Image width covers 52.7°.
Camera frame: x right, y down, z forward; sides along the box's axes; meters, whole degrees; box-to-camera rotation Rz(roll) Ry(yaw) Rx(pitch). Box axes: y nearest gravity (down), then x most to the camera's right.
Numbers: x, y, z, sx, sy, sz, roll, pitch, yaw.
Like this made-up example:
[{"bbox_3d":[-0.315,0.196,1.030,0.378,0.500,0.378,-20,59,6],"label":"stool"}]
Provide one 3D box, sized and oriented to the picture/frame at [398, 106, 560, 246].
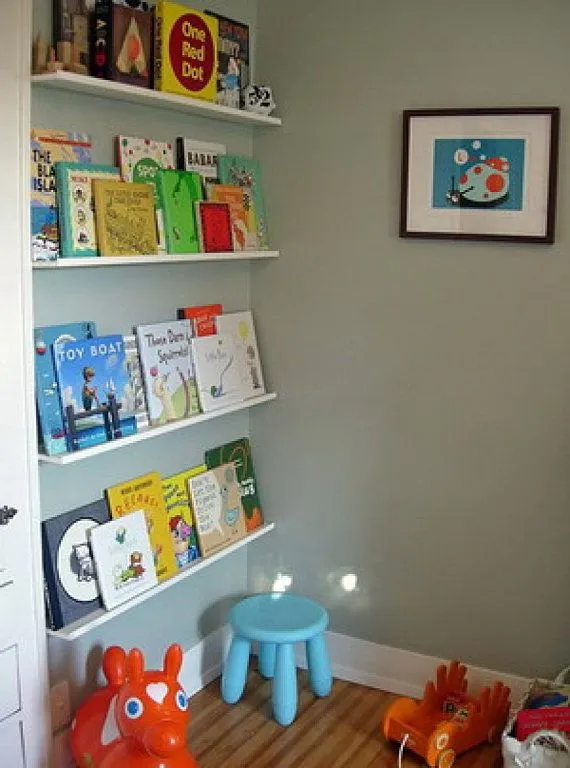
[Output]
[{"bbox_3d":[0.578,-0.615,1.667,0.398,0.361,0.019,7,13,29],"label":"picture/frame"}]
